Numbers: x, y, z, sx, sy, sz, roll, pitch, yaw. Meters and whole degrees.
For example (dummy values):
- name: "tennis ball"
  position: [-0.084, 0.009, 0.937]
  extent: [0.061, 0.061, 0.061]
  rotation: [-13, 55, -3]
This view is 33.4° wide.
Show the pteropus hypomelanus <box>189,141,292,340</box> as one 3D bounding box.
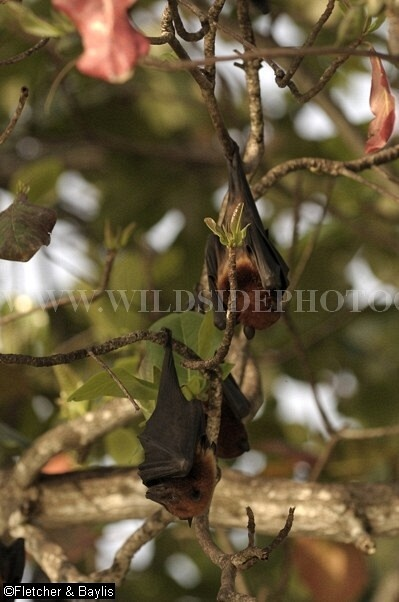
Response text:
- name: "pteropus hypomelanus"
  position: [0.034, -0.056, 0.599]
  extent: [0.088, 0.164, 0.077]
  rotation: [-3, 18, -8]

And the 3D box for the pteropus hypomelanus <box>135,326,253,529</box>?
- name: "pteropus hypomelanus"
  position: [0.001, 0.103, 0.595]
  extent: [0.097, 0.153, 0.172]
  rotation: [12, 33, 6]
